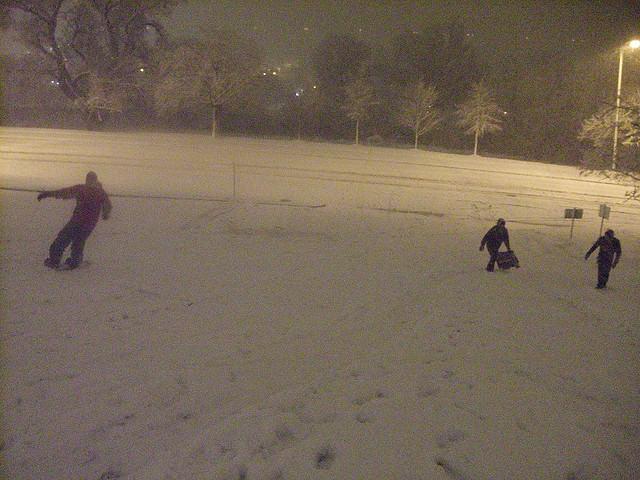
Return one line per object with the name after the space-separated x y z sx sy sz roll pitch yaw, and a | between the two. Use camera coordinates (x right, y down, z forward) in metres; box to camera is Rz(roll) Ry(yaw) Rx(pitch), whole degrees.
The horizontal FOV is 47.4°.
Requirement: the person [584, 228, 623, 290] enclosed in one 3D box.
7.238 0.486 18.591 0.723 1.563 0.462 8 13 24 | person

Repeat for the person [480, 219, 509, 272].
4.712 0.107 19.536 0.781 1.565 0.351 5 30 0 | person

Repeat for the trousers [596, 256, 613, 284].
7.262 0.772 18.689 0.353 0.669 0.249 7 13 20 | trousers

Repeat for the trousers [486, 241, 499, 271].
4.609 0.446 19.510 0.323 0.753 0.246 5 12 12 | trousers

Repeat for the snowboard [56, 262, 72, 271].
-6.258 0.645 17.767 0.353 0.170 0.152 3 7 25 | snowboard
